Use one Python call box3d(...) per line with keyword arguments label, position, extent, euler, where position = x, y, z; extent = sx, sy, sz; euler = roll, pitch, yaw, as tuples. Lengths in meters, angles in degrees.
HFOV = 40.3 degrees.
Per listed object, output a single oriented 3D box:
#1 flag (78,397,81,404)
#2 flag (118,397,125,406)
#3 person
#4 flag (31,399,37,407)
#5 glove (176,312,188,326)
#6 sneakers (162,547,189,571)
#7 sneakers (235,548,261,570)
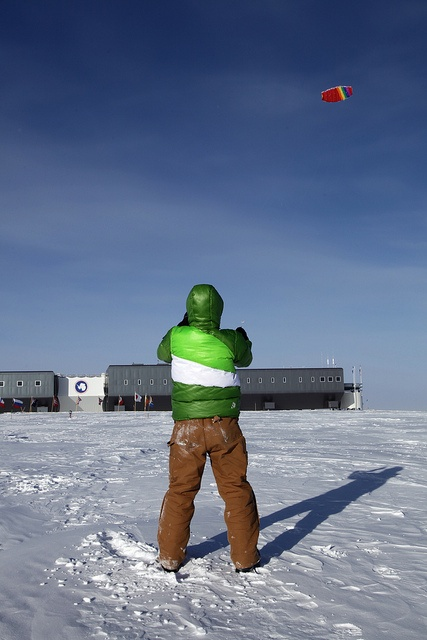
box3d(label="flag", position=(-13.096, 8.239, 56.813), extent=(0.428, 0.682, 0.404), euler=(-5, -7, 35))
box3d(label="flag", position=(-8.942, 8.196, 56.526), extent=(0.734, 0.908, 0.498), euler=(5, -8, -44))
box3d(label="person", position=(-0.029, 0.646, 3.555), extent=(0.617, 1.745, 0.484), euler=(0, -6, -6))
box3d(label="flag", position=(-17.209, 8.322, 56.089), extent=(0.459, 0.913, 0.429), euler=(1, -6, -16))
box3d(label="glove", position=(-0.152, 0.017, 3.095), extent=(0.054, 0.068, 0.071), euler=(-3, -34, -4))
box3d(label="sneakers", position=(-0.225, 1.445, 3.449), extent=(0.143, 0.142, 0.106), euler=(1, -3, -4))
box3d(label="sneakers", position=(0.203, 1.457, 3.461), extent=(0.133, 0.086, 0.094), euler=(5, -7, -35))
